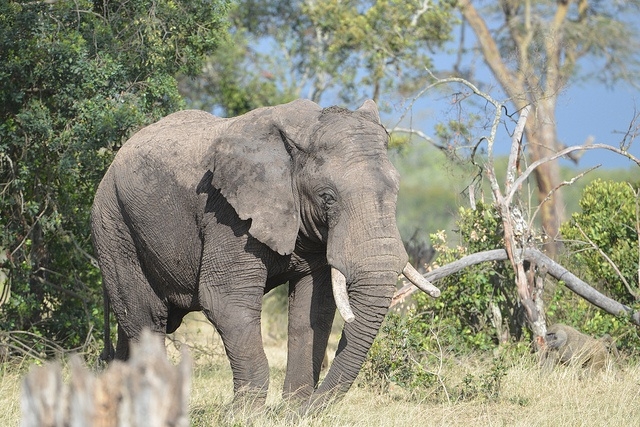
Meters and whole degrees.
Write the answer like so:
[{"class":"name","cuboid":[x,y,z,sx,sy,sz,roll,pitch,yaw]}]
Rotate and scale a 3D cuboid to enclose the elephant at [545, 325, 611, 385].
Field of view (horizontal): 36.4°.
[{"class":"elephant","cuboid":[4.220,2.218,15.943,1.373,1.034,0.506,9,-5,-3]}]
